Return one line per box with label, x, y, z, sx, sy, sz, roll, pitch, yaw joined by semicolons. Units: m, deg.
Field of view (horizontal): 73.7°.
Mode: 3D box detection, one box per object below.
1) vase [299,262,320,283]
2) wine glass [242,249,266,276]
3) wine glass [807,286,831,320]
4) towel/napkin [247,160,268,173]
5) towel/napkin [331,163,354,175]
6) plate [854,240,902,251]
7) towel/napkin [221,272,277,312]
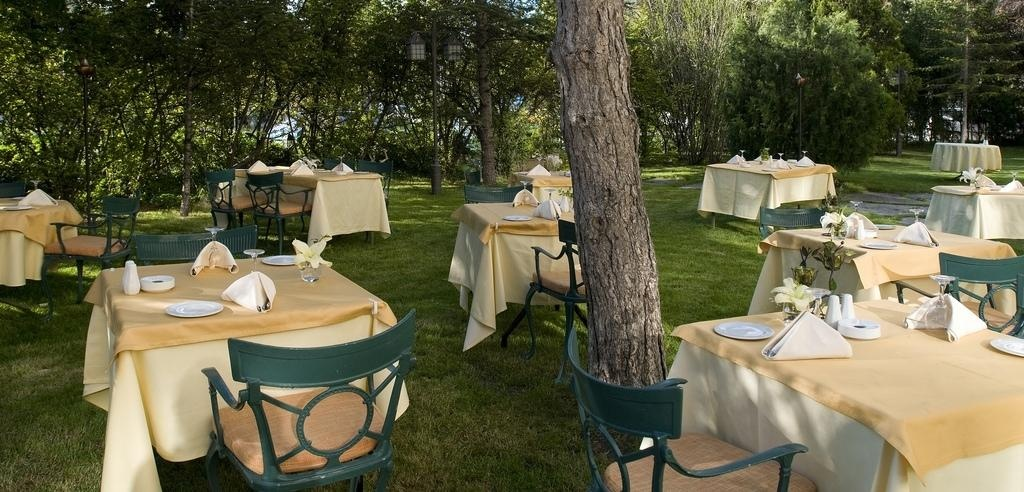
vase;-2.653;0.323;8.955;0.317;0.298;0.235;-6;19;-25
wine glass;-3.438;0.214;9.074;0.270;0.305;0.246;8;21;11
wine glass;3.775;0.696;8.319;0.211;0.380;0.597;3;6;25
towel/napkin;-5.497;-1.700;14.795;0.436;0.217;0.426;-4;16;-20
towel/napkin;-3.504;-1.600;14.145;0.355;0.167;0.353;-11;21;-42
plate;5.312;-0.037;9.868;0.497;0.120;0.451;3;5;28
towel/napkin;-3.225;0.569;8.419;0.525;0.249;0.524;17;24;32
